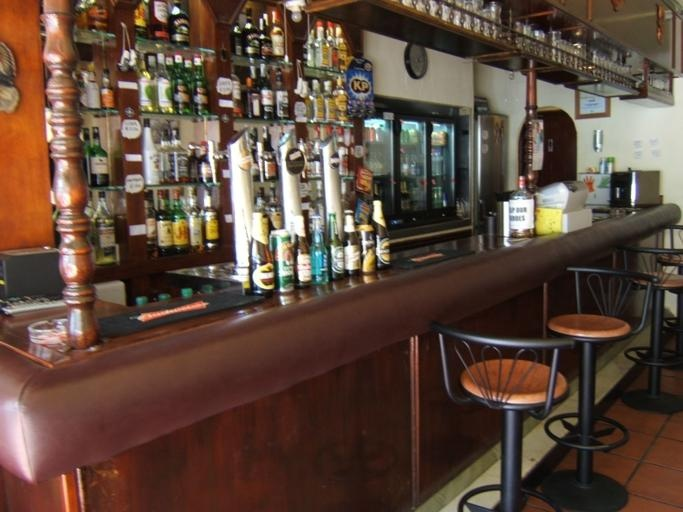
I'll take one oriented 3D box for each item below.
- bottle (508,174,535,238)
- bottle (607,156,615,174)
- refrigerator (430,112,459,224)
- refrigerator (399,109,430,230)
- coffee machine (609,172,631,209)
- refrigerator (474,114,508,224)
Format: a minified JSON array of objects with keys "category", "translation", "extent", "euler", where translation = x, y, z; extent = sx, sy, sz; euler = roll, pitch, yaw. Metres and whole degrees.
[{"category":"bottle","translation":[1.142,-0.316,3.702],"extent":[0.158,0.377,0.205],"euler":[-4,9,3]},{"category":"bottle","translation":[2.904,-0.989,6.259],"extent":[0.064,0.148,0.127],"euler":[2,11,37]},{"category":"refrigerator","translation":[1.083,-0.971,6.167],"extent":[0.151,0.881,0.413],"euler":[1,11,35]},{"category":"refrigerator","translation":[0.720,-0.898,5.780],"extent":[0.207,0.882,0.407],"euler":[1,10,34]},{"category":"coffee machine","translation":[2.789,-0.655,5.720],"extent":[0.226,0.394,0.233],"euler":[5,7,43]},{"category":"refrigerator","translation":[1.715,-0.941,6.749],"extent":[0.380,1.321,0.270],"euler":[-6,14,-13]}]
